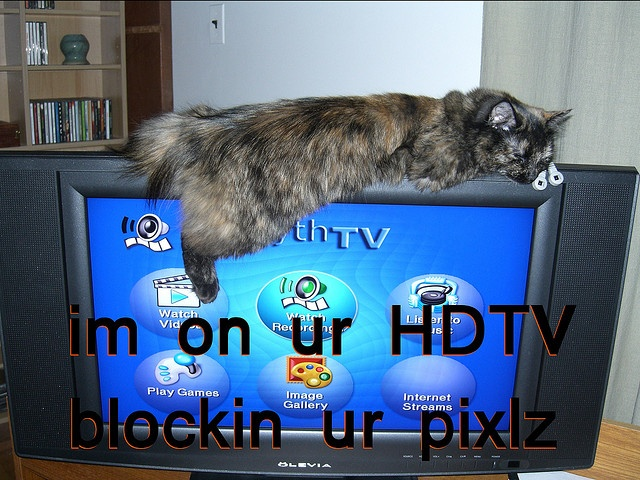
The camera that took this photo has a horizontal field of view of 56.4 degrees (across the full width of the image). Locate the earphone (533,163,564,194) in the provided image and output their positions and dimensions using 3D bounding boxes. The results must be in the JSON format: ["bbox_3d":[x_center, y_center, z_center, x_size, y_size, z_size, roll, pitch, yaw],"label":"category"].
[{"bbox_3d":[0.432,-0.117,1.135,0.022,0.046,0.052,34,22,25],"label":"earphone"}]

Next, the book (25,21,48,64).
[{"bbox_3d":[-1.455,-1.012,3.091,0.066,0.215,0.164,6,17,17],"label":"book"}]
